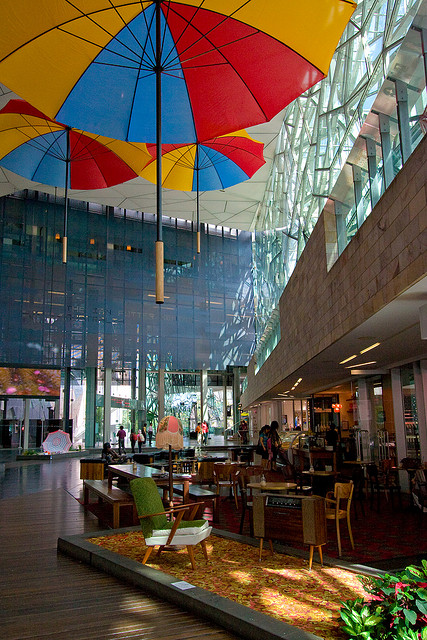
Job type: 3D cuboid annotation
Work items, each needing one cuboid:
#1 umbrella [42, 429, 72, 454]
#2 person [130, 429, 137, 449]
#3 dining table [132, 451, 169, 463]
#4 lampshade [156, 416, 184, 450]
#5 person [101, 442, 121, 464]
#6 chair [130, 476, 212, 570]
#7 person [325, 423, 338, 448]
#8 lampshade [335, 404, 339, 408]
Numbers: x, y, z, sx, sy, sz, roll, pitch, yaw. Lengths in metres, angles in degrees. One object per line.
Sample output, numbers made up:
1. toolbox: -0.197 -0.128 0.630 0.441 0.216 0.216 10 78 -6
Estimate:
1. umbrella: -9.067 7.029 25.273 1.478 1.145 0.767 9 -15 -34
2. person: -4.980 7.369 27.270 0.329 0.965 1.045 2 -13 -7
3. dining table: -2.409 5.269 16.847 0.815 0.432 3.065 -1 -13 6
4. lampshade: -0.601 1.529 5.979 0.369 0.435 0.487 2 -13 -6
5. person: -3.342 4.274 14.188 0.538 0.562 1.614 3 -13 -12
6. chair: -0.493 2.372 5.189 0.822 0.966 0.704 -4 -14 11
7. person: 3.771 3.693 14.022 0.317 0.705 0.815 -4 -13 18
8. lampshade: 5.795 4.001 20.486 0.123 0.148 0.128 -6 -9 29
